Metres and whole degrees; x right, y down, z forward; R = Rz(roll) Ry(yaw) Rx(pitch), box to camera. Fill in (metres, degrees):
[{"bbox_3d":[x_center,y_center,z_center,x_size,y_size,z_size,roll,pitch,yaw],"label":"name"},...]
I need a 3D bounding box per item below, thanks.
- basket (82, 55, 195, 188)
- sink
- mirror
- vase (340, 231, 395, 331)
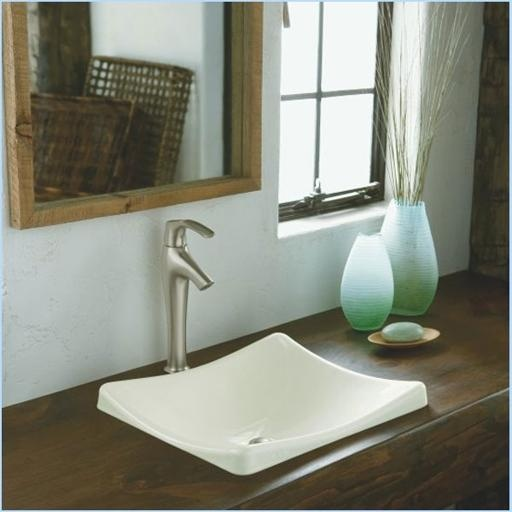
[{"bbox_3d":[-0.220,-0.247,1.144,0.217,0.219,0.061,10,8,34],"label":"basket"},{"bbox_3d":[0.015,0.269,1.055,0.481,0.121,0.327,-10,17,-35],"label":"sink"},{"bbox_3d":[-0.238,-0.265,1.090,0.449,0.377,0.034,-8,11,-42],"label":"mirror"},{"bbox_3d":[0.269,0.066,1.430,0.114,0.225,0.070,2,14,9],"label":"vase"}]
